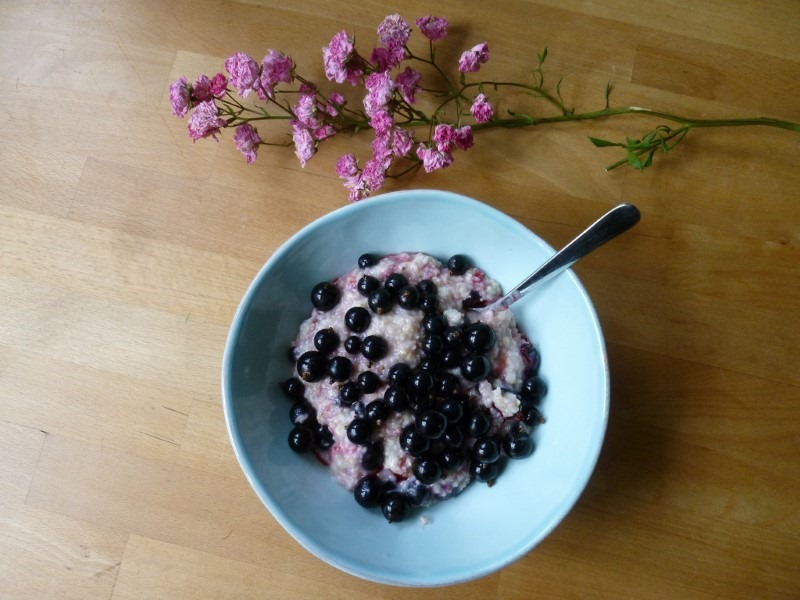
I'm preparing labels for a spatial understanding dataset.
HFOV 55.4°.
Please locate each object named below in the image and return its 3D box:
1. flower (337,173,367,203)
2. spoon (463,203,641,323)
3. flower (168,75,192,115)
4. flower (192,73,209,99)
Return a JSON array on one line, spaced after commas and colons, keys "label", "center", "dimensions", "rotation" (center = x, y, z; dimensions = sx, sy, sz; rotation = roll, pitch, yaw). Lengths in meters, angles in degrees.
[{"label": "flower", "center": [-0.170, -0.415, 2.829], "dimensions": [0.093, 0.044, 0.106], "rotation": [6, 100, 15]}, {"label": "spoon", "center": [0.540, -0.113, 2.734], "dimensions": [0.729, 0.071, 0.101], "rotation": [-33, 90, 13]}, {"label": "flower", "center": [-0.829, -0.747, 2.798], "dimensions": [0.130, 0.058, 0.129], "rotation": [2, 94, -34]}, {"label": "flower", "center": [-0.728, -0.773, 2.757], "dimensions": [0.077, 0.029, 0.078], "rotation": [1, 100, -3]}]
